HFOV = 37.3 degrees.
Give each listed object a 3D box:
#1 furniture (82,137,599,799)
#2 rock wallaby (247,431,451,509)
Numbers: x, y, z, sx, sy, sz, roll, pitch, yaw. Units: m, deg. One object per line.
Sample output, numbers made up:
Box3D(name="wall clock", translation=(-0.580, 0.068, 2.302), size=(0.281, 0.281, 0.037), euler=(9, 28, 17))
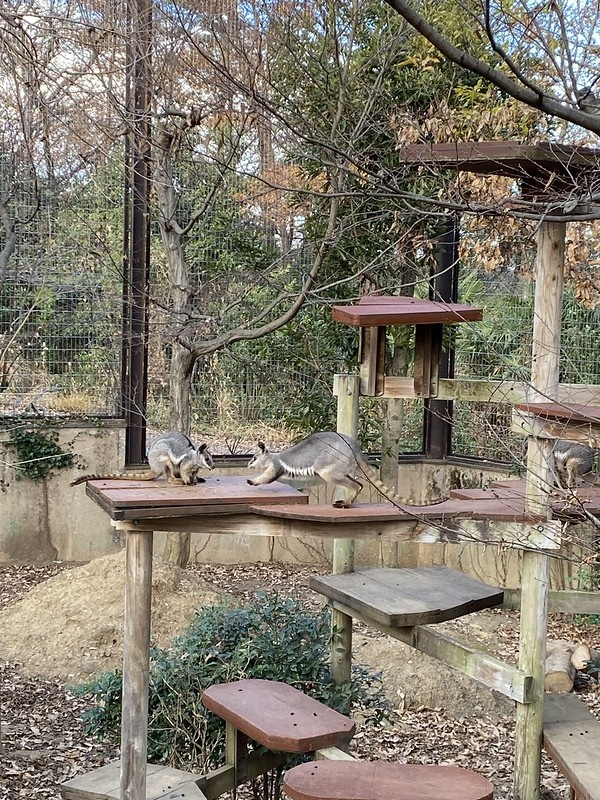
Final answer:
Box3D(name="furniture", translation=(0.486, 0.420, 4.746), size=(2.512, 3.223, 2.828), euler=(0, 1, 26))
Box3D(name="rock wallaby", translation=(0.182, 0.353, 4.353), size=(0.984, 0.376, 0.233), euler=(0, -5, 15))
